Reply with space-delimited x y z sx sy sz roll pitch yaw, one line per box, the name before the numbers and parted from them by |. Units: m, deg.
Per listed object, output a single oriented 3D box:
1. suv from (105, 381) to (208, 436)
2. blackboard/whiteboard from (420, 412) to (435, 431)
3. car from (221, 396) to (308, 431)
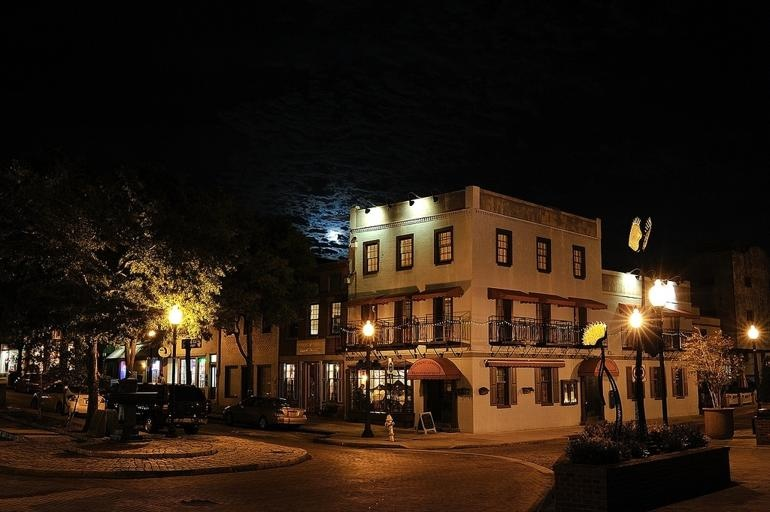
suv | -10.745 7.128 32.160 4.344 2.450 3.125 -6 -16 22
blackboard/whiteboard | 2.262 8.953 36.417 0.877 1.044 0.535 10 -16 -31
car | -6.701 8.737 37.952 4.427 1.765 1.290 -8 -16 28
